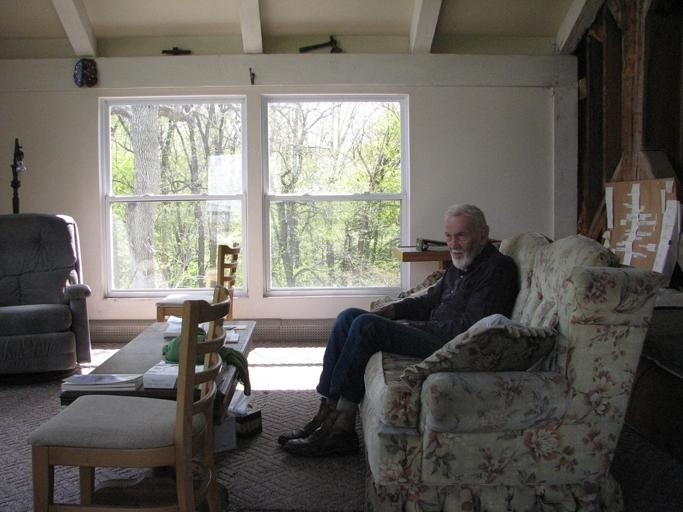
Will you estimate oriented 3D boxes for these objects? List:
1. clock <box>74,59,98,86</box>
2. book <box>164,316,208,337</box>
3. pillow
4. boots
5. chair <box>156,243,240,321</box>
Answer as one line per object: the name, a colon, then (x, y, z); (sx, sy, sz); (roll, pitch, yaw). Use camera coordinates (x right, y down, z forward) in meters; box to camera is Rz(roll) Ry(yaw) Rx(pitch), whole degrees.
clock: (-2.445, -1.739, 5.554); (0.238, 0.264, 0.084); (0, 5, 5)
book: (-1.122, 0.477, 3.950); (0.250, 0.087, 0.270); (1, 6, -7)
pillow: (0.661, 0.470, 2.758); (0.742, 0.304, 0.141); (-1, 5, -7)
boots: (-0.077, 1.000, 3.486); (0.551, 0.386, 0.228); (2, -1, 4)
chair: (-1.227, 0.394, 4.877); (0.677, 0.928, 0.619); (-3, -8, 5)
